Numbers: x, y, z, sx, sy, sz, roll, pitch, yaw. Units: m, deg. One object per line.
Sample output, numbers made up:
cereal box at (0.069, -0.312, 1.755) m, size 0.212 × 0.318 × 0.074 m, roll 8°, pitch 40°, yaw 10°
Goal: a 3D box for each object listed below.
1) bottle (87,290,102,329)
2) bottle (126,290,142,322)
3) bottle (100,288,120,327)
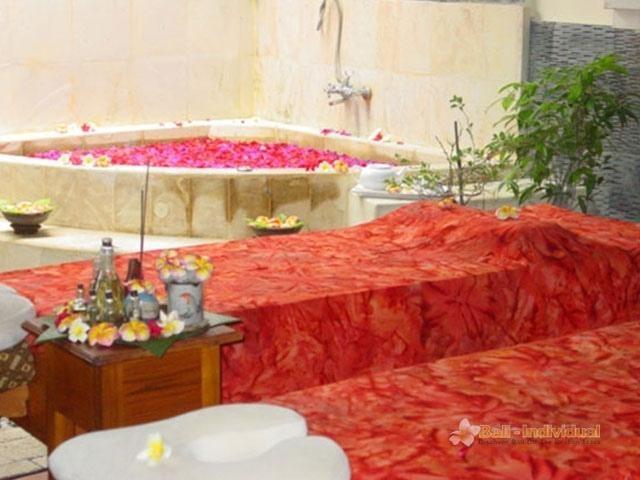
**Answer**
bottle at (-0.593, 0.180, 1.493) m, size 0.042 × 0.087 × 0.027 m, roll 2°, pitch 7°, yaw 10°
bottle at (-0.495, 0.175, 1.515) m, size 0.052 × 0.073 × 0.025 m, roll 5°, pitch 8°, yaw 32°
bottle at (-0.550, 0.177, 1.496) m, size 0.046 × 0.090 × 0.024 m, roll -3°, pitch 8°, yaw -25°
